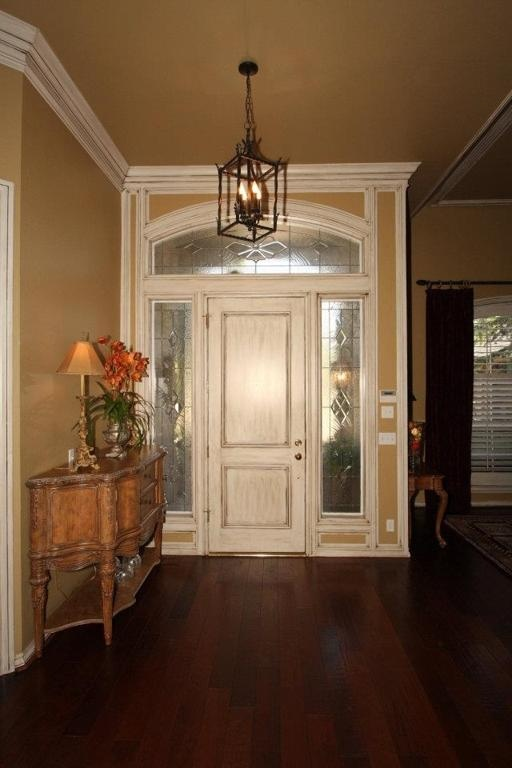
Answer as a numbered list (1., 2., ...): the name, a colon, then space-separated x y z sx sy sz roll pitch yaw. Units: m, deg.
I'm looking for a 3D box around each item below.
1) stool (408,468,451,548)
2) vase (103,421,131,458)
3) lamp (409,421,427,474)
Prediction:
1. stool: 1.480 1.096 5.009 0.454 0.738 0.689 -2 -3 10
2. vase: -0.881 0.351 3.606 0.197 0.264 0.191 4 -7 -34
3. lamp: 1.364 0.543 4.908 0.163 0.420 0.069 -1 4 -17
